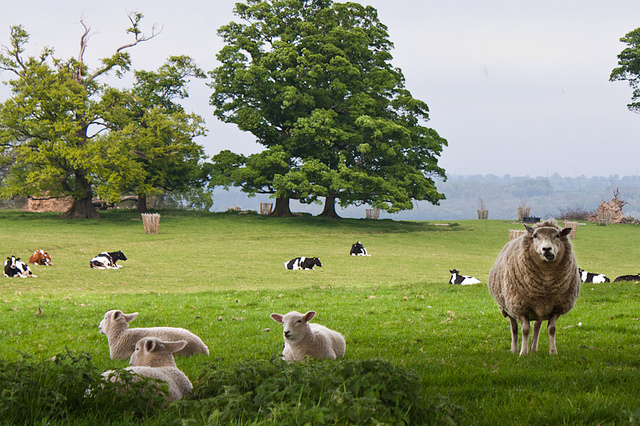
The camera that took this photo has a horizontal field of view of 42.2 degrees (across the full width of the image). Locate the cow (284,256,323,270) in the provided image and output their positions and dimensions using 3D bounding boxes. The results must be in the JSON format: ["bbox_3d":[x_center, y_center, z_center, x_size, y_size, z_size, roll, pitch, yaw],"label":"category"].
[{"bbox_3d":[-1.175,3.442,57.153,2.673,1.030,0.875,-1,1,-5],"label":"cow"}]

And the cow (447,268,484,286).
[{"bbox_3d":[9.210,4.111,52.727,1.606,0.692,1.168,4,-6,12],"label":"cow"}]

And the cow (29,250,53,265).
[{"bbox_3d":[-17.851,2.849,53.017,1.337,0.790,0.819,1,0,-19],"label":"cow"}]

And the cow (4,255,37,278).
[{"bbox_3d":[-18.333,3.298,50.396,1.787,1.156,0.563,1,0,8],"label":"cow"}]

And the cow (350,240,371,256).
[{"bbox_3d":[3.088,2.744,63.022,1.387,0.982,0.833,-1,1,-1],"label":"cow"}]

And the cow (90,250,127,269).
[{"bbox_3d":[-13.713,3.073,54.115,1.520,1.047,2.502,1,-1,20],"label":"cow"}]
